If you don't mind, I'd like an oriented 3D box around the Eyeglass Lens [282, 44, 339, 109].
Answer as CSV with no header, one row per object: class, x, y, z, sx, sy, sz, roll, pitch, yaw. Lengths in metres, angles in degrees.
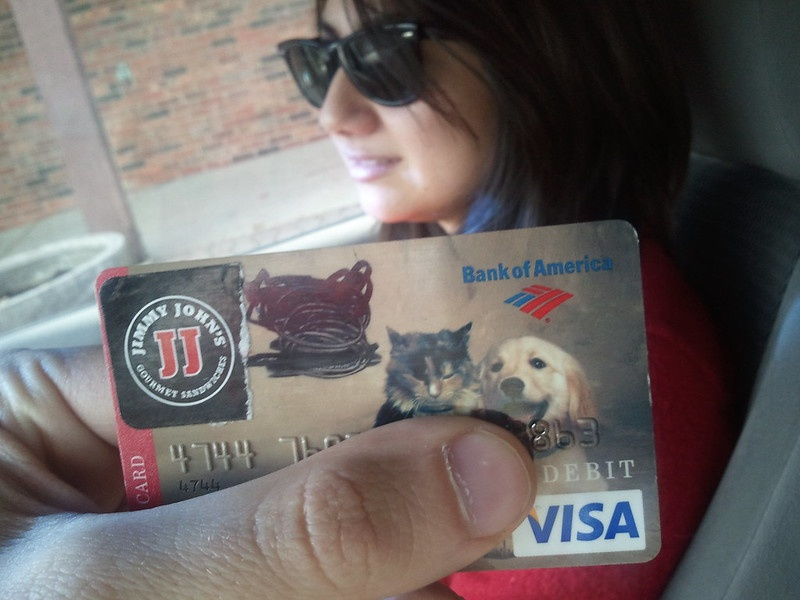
Eyeglass Lens,-0.108,-0.257,0.865,0.062,0.021,0.062,6,5,-3
